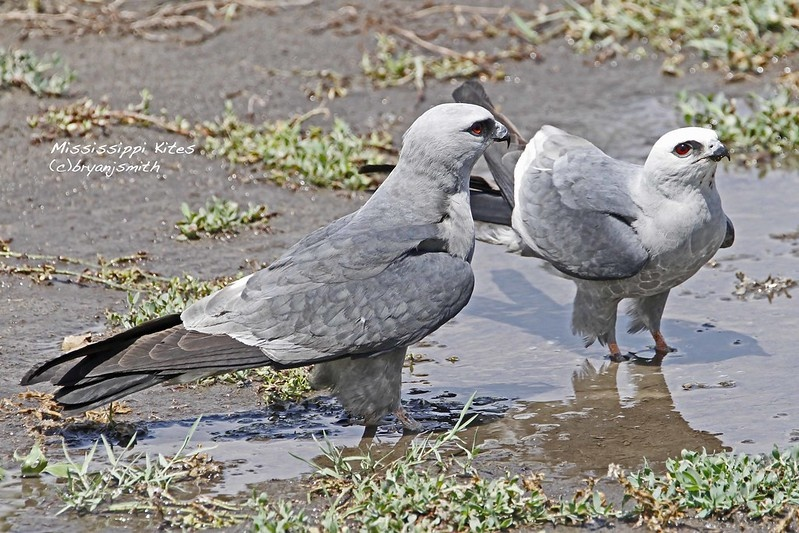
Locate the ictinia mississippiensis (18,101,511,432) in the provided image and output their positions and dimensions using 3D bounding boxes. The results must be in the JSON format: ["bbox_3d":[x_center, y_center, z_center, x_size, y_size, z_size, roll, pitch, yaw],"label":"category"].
[{"bbox_3d":[-1.679,-0.158,7.770,5.101,2.158,1.417,-7,23,-16],"label":"ictinia mississippiensis"}]

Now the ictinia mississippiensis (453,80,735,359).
[{"bbox_3d":[0.389,-0.478,8.511,3.562,1.676,1.398,21,32,36],"label":"ictinia mississippiensis"}]
